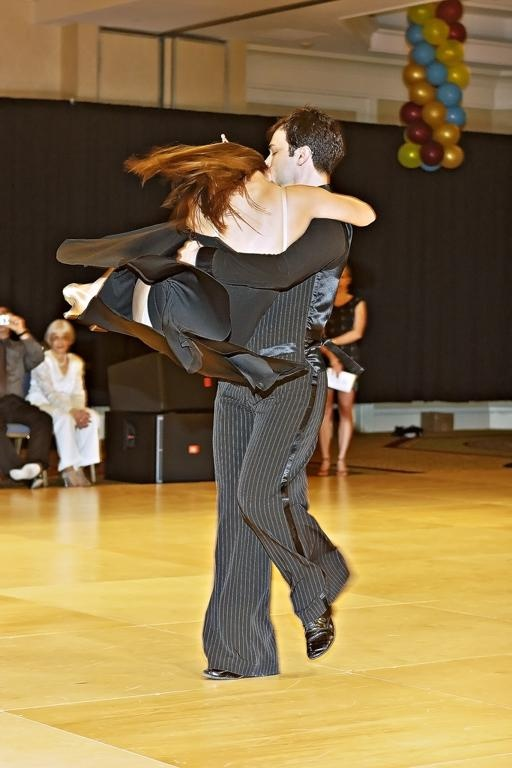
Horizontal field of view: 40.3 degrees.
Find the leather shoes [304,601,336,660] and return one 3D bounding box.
[{"bbox_3d":[0.163,0.621,1.798,0.062,0.063,0.157,-29,25,27],"label":"leather shoes"}]

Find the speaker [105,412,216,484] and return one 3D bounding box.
[{"bbox_3d":[-0.911,0.605,6.488,0.822,0.562,0.797,3,-5,-34],"label":"speaker"}]

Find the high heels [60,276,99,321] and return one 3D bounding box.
[{"bbox_3d":[-0.371,-0.177,1.556,0.043,0.107,0.082,39,11,-45],"label":"high heels"}]

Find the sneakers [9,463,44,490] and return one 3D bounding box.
[{"bbox_3d":[-1.979,0.824,6.136,0.166,0.178,0.398,-18,-21,4],"label":"sneakers"}]

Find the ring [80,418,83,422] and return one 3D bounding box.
[{"bbox_3d":[-1.570,0.329,6.317,0.029,0.025,0.010,0,-3,-5],"label":"ring"}]

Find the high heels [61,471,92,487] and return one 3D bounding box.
[{"bbox_3d":[-1.588,0.846,6.257,0.243,0.167,0.298,1,4,-14],"label":"high heels"}]

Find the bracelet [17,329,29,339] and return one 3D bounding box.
[{"bbox_3d":[-2.042,-0.438,6.162,0.079,0.087,0.119,2,4,-2],"label":"bracelet"}]

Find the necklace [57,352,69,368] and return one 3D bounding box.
[{"bbox_3d":[-1.784,-0.221,6.478,0.101,0.121,0.046,-1,-7,-8],"label":"necklace"}]

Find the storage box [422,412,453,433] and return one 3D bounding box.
[{"bbox_3d":[3.098,0.642,11.923,0.426,0.282,0.400,2,-2,-33],"label":"storage box"}]
